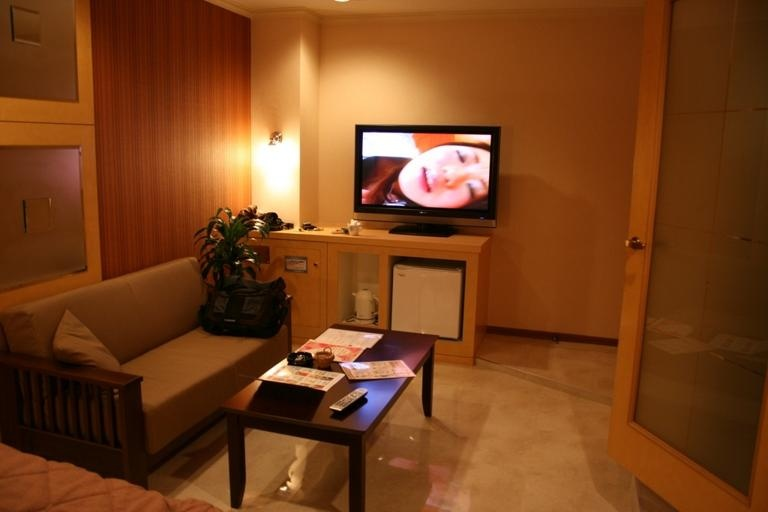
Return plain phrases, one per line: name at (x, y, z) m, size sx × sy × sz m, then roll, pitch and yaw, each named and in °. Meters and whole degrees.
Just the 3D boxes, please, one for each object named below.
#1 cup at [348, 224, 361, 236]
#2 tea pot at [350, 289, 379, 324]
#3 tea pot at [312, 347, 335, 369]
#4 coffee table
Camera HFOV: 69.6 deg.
cup at (-0.279, -0.251, 5.315) m, size 0.114 × 0.093 × 0.091 m, roll 4°, pitch 9°, yaw 13°
tea pot at (-0.179, 0.505, 5.450) m, size 0.316 × 0.292 × 0.218 m, roll 5°, pitch 8°, yaw 19°
tea pot at (-0.404, 0.691, 3.709) m, size 0.108 × 0.125 × 0.121 m, roll 1°, pitch -8°, yaw 5°
coffee table at (-0.292, 1.060, 3.731) m, size 0.927 × 0.741 × 1.353 m, roll 6°, pitch 14°, yaw 21°
